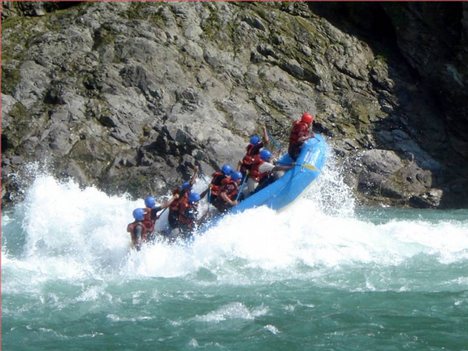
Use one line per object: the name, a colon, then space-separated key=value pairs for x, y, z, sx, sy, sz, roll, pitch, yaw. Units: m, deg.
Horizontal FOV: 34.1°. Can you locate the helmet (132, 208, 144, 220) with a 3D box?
helmet: x=-3.568 y=1.459 z=28.602 sx=0.360 sy=0.469 sz=0.472 roll=3 pitch=14 yaw=19

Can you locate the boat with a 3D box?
boat: x=0.339 y=0.101 z=29.452 sx=6.860 sy=1.605 sz=3.252 roll=-29 pitch=20 yaw=9

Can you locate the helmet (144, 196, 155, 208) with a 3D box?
helmet: x=-3.208 y=1.009 z=29.079 sx=0.344 sy=0.438 sz=0.452 roll=5 pitch=-27 yaw=-5

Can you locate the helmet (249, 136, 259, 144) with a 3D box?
helmet: x=0.801 y=-1.416 z=30.078 sx=0.312 sy=0.305 sz=0.366 roll=10 pitch=1 yaw=3

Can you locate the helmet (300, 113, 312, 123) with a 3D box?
helmet: x=2.776 y=-2.244 z=29.549 sx=0.457 sy=0.326 sz=0.364 roll=0 pitch=-2 yaw=13
